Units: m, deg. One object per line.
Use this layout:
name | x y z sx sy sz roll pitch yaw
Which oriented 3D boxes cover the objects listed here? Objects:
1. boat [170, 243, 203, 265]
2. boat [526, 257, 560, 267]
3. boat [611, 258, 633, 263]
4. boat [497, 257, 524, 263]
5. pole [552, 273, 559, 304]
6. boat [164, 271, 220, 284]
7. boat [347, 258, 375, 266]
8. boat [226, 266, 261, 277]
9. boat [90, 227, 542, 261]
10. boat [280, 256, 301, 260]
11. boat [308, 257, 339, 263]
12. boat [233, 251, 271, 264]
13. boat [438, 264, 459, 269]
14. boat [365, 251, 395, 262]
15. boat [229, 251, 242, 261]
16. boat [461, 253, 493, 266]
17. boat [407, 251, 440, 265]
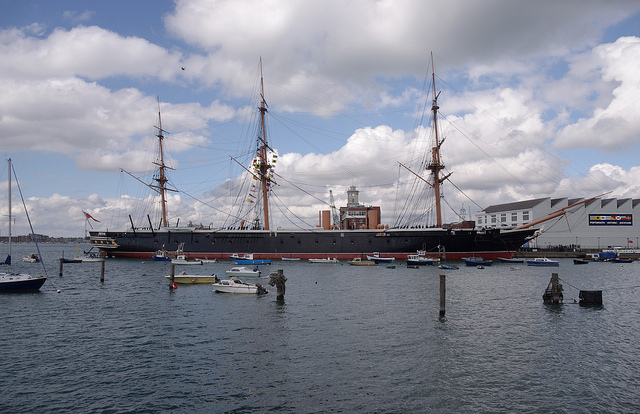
boat | -25.546 9.418 108.319 2.931 5.373 9.643 -3 -9 19
boat | 42.851 10.644 111.271 8.403 1.550 3.719 3 -6 -41
boat | 65.879 11.929 126.900 5.993 0.989 1.347 1 -4 17
boat | 36.343 10.229 111.107 4.305 0.718 1.199 4 -2 0
pole | 28.742 9.945 70.695 0.642 3.698 0.724 -2 -4 21
boat | -17.610 10.282 82.883 5.741 1.621 2.234 3 -12 -7
boat | 7.671 10.099 107.813 5.085 1.324 1.604 1 -7 6
boat | -11.694 10.019 87.367 5.544 1.599 1.769 2 -3 7
boat | -8.588 6.717 118.701 80.877 7.710 11.106 -1 5 11
boat | -5.655 10.069 113.947 3.780 0.625 0.468 4 2 2
boat | 0.772 10.226 109.639 5.238 1.126 1.530 2 -11 1
boat | -11.626 9.616 108.858 8.758 2.511 2.269 1 -10 4
boat | 22.027 10.224 98.670 3.147 0.656 3.024 -1 -4 12
boat | 12.139 9.270 109.664 7.567 2.556 1.750 2 -7 1
boat | -16.405 9.516 112.201 1.432 1.677 4.700 1 -5 -16
boat | 28.623 9.730 105.411 5.373 1.999 1.821 1 -6 10
boat | 19.134 9.332 105.101 7.472 2.791 2.195 -2 -1 3
